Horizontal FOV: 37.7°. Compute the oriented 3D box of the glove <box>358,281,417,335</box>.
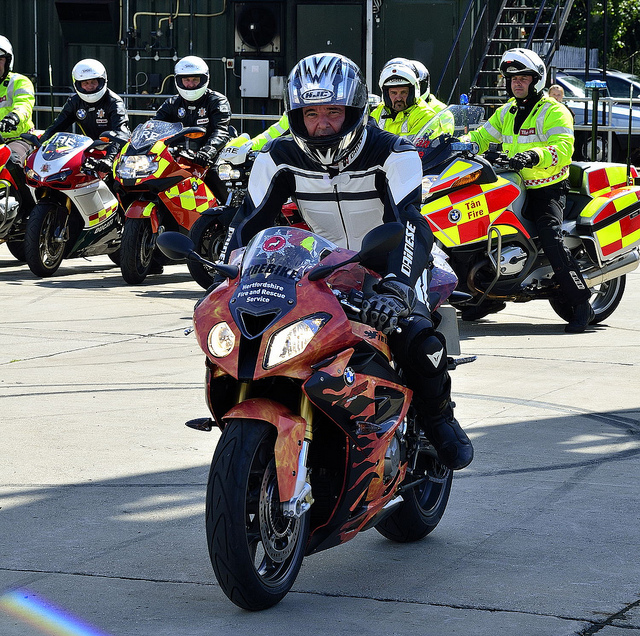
[{"bbox_3d":[0.232,-0.035,3.162,0.147,0.084,0.213,27,38,7],"label":"glove"}]

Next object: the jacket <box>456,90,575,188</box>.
[{"bbox_3d":[2.020,-1.850,9.468,0.879,0.868,1.256,-16,20,-31],"label":"jacket"}]

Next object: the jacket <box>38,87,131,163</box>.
[{"bbox_3d":[-3.095,-2.701,12.825,0.843,0.837,1.555,15,7,1],"label":"jacket"}]

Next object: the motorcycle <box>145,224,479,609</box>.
[{"bbox_3d":[0.008,0.331,3.349,0.728,1.336,1.219,3,8,17],"label":"motorcycle"}]

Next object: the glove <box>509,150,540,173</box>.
[{"bbox_3d":[1.938,-1.491,8.862,0.193,0.109,0.249,-18,-8,20],"label":"glove"}]
